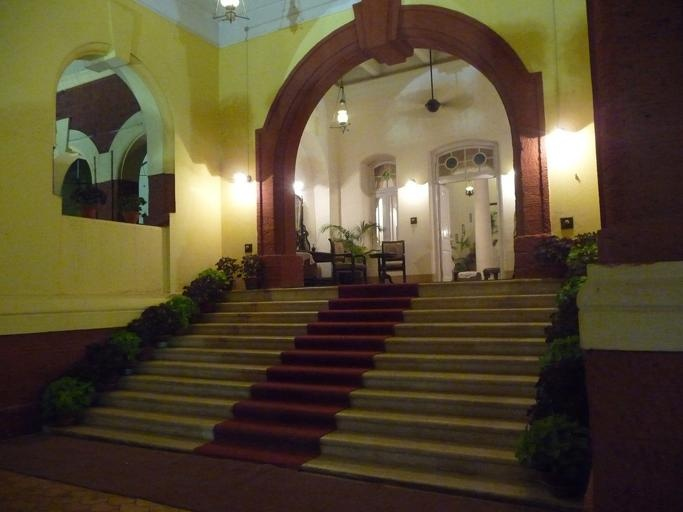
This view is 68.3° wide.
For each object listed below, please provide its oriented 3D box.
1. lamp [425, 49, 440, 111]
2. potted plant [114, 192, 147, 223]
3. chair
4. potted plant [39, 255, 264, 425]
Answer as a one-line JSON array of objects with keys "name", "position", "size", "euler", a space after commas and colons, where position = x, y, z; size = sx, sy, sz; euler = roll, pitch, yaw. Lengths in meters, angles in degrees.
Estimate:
[{"name": "lamp", "position": [1.972, -3.861, 11.167], "size": [0.343, 1.184, 0.483], "euler": [-2, 1, 36]}, {"name": "potted plant", "position": [-3.018, -0.683, 7.252], "size": [0.327, 0.463, 0.675], "euler": [-3, 2, -26]}, {"name": "chair", "position": [0.478, 0.135, 9.894], "size": [1.379, 1.012, 0.861], "euler": [-3, -1, 29]}, {"name": "potted plant", "position": [-2.326, 0.966, 6.649], "size": [0.671, 0.785, 3.332], "euler": [-4, 21, 37]}]
